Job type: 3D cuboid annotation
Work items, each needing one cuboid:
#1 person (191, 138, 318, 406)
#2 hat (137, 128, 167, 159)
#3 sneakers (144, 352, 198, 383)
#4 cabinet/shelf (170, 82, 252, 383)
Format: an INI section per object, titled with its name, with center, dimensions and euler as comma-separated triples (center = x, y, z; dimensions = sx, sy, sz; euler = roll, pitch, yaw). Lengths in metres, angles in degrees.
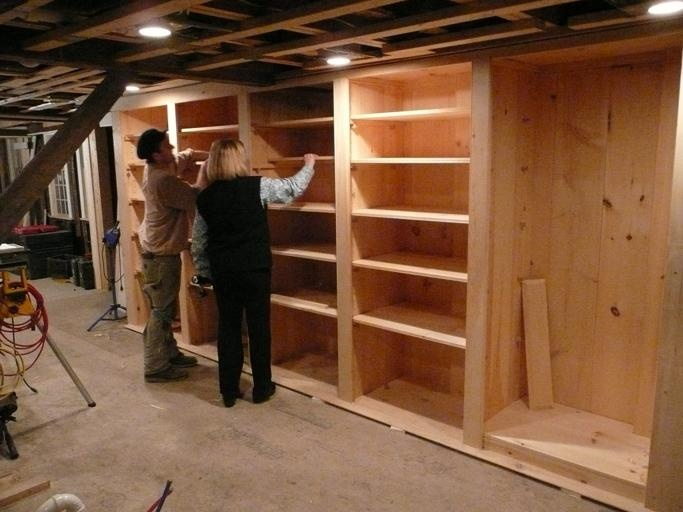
[person]
center = -0.728, 0.163, 4.569
dimensions = 0.806, 2.160, 0.303
euler = -1, 12, -3
[hat]
center = -1.681, -0.984, 5.070
dimensions = 0.250, 0.273, 0.173
euler = -3, 12, -15
[sneakers]
center = -1.530, 1.027, 5.297
dimensions = 0.169, 0.182, 0.495
euler = 14, 18, 42
[cabinet/shelf]
center = -1.307, -0.039, 5.806
dimensions = 0.577, 1.947, 0.550
euler = 4, 11, 30
